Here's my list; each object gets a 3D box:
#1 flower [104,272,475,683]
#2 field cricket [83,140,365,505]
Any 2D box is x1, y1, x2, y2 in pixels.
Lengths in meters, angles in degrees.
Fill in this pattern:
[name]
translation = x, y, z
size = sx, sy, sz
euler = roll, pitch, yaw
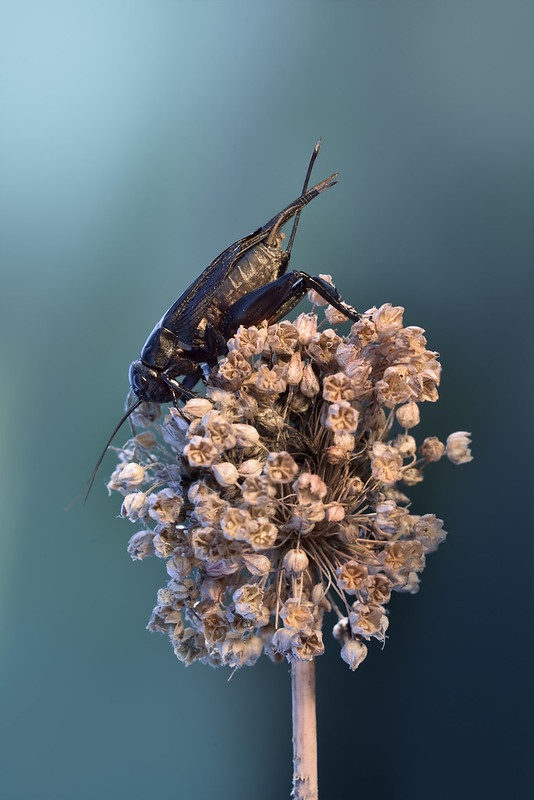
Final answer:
[flower]
translation = 0.051, 0.155, 2.101
size = 0.610, 0.593, 0.349
euler = -16, 3, -8
[field cricket]
translation = -0.071, -0.154, 2.037
size = 0.588, 0.169, 0.442
euler = -50, -2, 7
